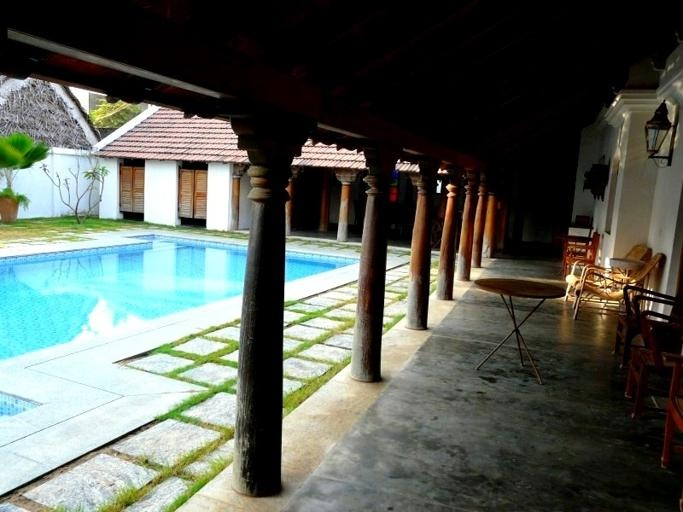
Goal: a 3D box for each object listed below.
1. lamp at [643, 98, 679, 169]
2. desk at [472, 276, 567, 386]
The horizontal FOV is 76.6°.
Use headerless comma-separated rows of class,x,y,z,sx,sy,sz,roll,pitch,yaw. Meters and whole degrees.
lamp,5.026,-1.972,6.857,0.411,1.129,1.708,9,12,32
desk,2.033,0.848,5.092,0.965,0.931,0.942,9,6,1
